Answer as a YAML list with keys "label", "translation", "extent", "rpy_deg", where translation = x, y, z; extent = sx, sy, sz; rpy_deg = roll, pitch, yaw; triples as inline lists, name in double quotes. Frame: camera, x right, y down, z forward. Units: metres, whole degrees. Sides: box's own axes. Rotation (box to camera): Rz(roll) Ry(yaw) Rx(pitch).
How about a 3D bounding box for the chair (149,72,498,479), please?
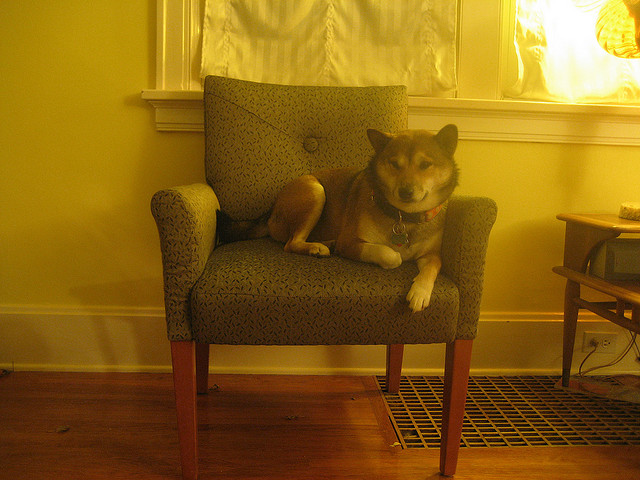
- label: "chair"
  translation: [-0.004, 0.115, 2.252]
  extent: [1.218, 1.377, 0.846]
  rpy_deg: [3, 18, -3]

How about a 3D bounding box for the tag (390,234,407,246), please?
- label: "tag"
  translation: [0.291, -0.003, 2.076]
  extent: [0.060, 0.040, 0.013]
  rpy_deg: [7, 18, 7]

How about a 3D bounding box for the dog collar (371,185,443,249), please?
- label: "dog collar"
  translation: [0.298, -0.081, 2.079]
  extent: [0.181, 0.260, 0.131]
  rpy_deg: [15, 32, 10]

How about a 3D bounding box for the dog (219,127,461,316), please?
- label: "dog"
  translation: [0.028, -0.140, 2.350]
  extent: [1.107, 0.691, 0.677]
  rpy_deg: [12, 12, 42]
